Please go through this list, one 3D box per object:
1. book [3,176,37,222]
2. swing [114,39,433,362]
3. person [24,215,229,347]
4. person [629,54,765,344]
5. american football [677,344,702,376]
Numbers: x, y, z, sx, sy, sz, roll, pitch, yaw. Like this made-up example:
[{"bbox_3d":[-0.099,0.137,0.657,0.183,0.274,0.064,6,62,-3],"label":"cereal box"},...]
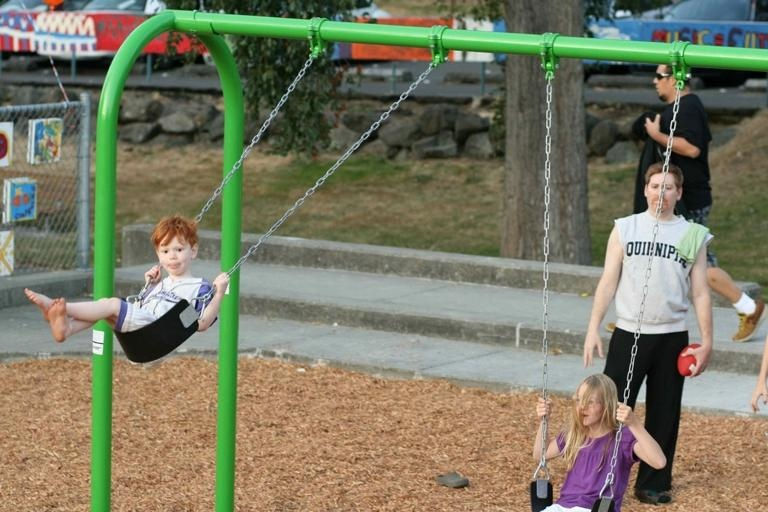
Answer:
[{"bbox_3d":[-4.621,-0.685,24.289,0.595,0.616,0.092,-4,5,-39],"label":"book"},{"bbox_3d":[-1.446,-0.676,26.806,1.686,6.220,1.113,43,6,-7],"label":"swing"},{"bbox_3d":[-2.572,0.293,19.213,1.957,1.129,1.044,-1,9,-44],"label":"person"},{"bbox_3d":[3.486,-0.595,21.783,1.016,3.191,1.303,2,-2,24],"label":"person"},{"bbox_3d":[3.160,1.150,19.837,0.273,0.229,0.375,-11,3,3],"label":"american football"}]
